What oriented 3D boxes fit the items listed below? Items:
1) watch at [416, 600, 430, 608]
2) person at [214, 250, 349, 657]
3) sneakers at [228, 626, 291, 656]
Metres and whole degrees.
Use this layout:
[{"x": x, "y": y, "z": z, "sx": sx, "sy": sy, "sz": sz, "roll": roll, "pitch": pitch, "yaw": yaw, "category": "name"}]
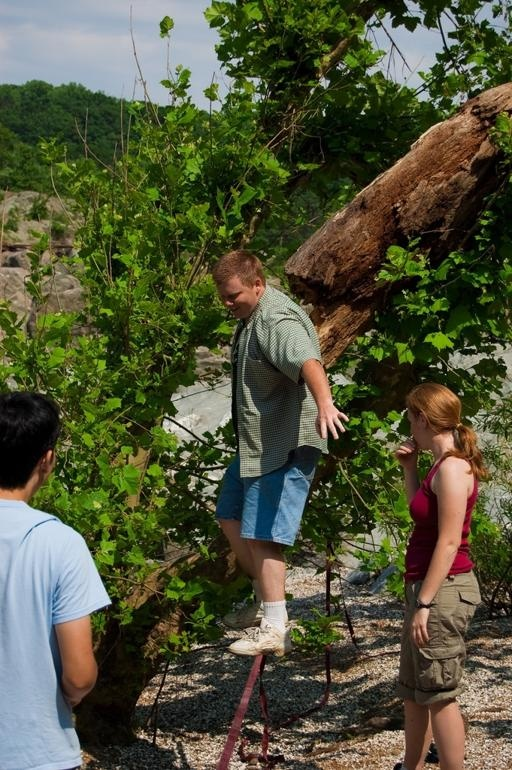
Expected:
[{"x": 0.630, "y": 0.826, "z": 2.898, "sx": 0.044, "sy": 0.021, "sz": 0.034, "roll": 1, "pitch": 3, "yaw": -19, "category": "watch"}, {"x": 0.064, "y": 0.276, "z": 3.245, "sx": 0.497, "sy": 1.703, "sz": 1.012, "roll": 3, "pitch": 6, "yaw": -17, "category": "person"}, {"x": 0.030, "y": 1.054, "z": 3.197, "sx": 0.322, "sy": 0.133, "sz": 0.103, "roll": 2, "pitch": 3, "yaw": -14, "category": "sneakers"}]
